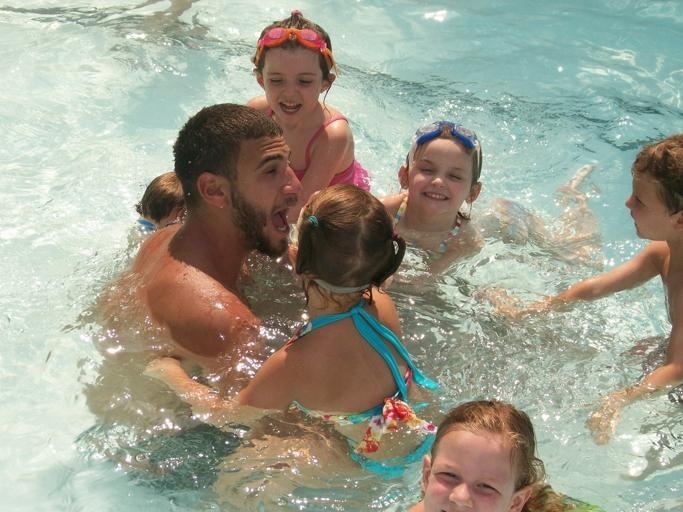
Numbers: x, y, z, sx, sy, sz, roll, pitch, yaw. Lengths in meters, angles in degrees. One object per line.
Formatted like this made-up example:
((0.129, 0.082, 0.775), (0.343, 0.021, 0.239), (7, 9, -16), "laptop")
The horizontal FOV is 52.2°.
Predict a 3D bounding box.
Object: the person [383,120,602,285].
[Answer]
((1.442, -0.296, 5.478), (1.169, 2.392, 0.698), (3, 89, 40), "person")
